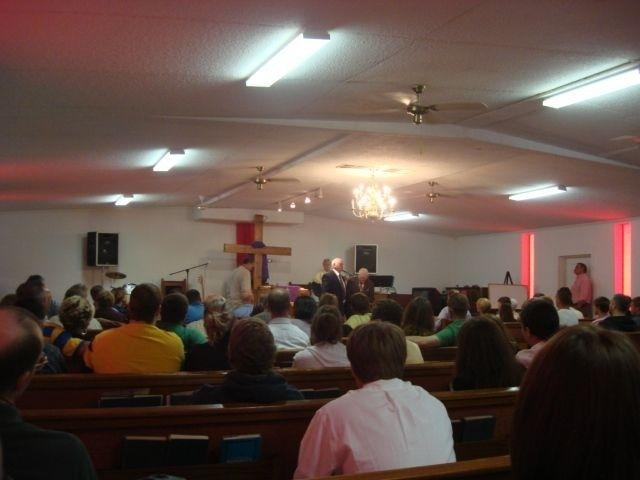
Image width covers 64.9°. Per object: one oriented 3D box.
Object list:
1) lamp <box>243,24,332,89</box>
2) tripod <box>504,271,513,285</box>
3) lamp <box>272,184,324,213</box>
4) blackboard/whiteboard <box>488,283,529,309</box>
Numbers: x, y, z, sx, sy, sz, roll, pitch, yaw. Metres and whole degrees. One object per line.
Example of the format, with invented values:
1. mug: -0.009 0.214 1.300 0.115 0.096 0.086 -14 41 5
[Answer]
1. lamp: -0.302 -1.708 4.806 0.372 0.103 1.209 3 -5 -32
2. tripod: 5.689 1.117 15.062 0.348 0.419 0.320 -4 6 8
3. lamp: -0.534 -1.068 13.246 0.340 0.258 2.303 -31 5 -18
4. blackboard/whiteboard: 4.442 1.303 11.834 1.239 0.695 0.167 0 -1 23
